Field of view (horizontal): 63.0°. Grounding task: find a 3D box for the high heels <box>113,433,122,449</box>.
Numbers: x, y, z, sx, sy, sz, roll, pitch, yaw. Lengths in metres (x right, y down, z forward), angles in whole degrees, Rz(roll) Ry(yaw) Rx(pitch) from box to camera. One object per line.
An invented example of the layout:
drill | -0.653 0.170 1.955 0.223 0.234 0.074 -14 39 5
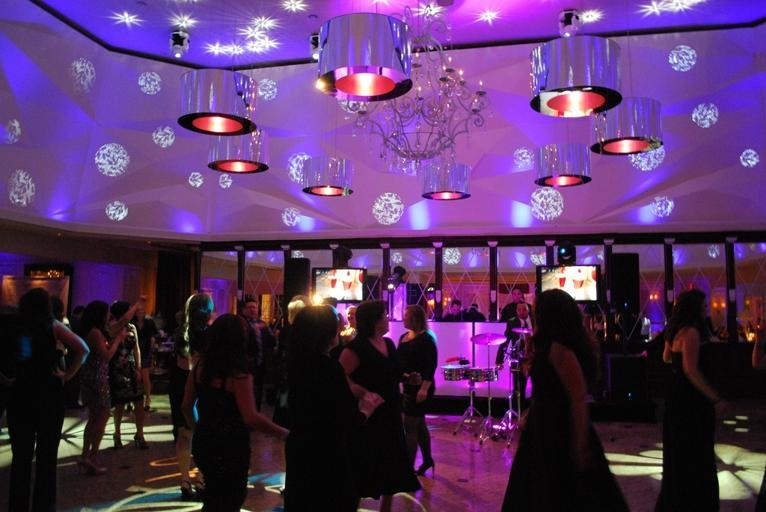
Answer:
high heels | -3.634 2.540 8.534 0.087 0.239 0.081 -35 -48 9

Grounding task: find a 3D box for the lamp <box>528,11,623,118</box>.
lamp | 2.152 -2.173 7.355 0.965 1.098 0.995 1 -14 6

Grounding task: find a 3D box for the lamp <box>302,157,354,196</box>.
lamp | -0.849 -1.216 9.841 0.636 0.429 0.650 0 -4 2

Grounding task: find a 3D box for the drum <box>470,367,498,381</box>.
drum | 1.422 1.694 8.932 0.250 0.093 0.238 0 -4 0

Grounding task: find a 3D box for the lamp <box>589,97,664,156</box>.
lamp | 3.294 -1.651 8.404 0.773 0.520 0.796 -4 -4 21

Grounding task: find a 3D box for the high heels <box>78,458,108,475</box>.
high heels | -3.582 2.600 7.723 0.303 0.134 0.167 9 -6 -9

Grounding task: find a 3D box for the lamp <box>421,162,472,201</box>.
lamp | 1.006 -1.151 9.726 0.737 0.478 0.762 -1 -5 27

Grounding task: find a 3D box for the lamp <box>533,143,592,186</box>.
lamp | 2.858 -1.425 9.807 0.839 0.563 0.847 3 -6 -11

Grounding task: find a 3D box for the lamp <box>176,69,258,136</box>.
lamp | -2.097 -1.849 7.914 0.872 0.600 0.909 4 -14 21

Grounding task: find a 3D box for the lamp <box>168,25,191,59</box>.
lamp | -4.063 -4.231 12.494 0.433 0.653 0.449 1 -8 3

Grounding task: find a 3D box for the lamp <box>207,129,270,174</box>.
lamp | -2.094 -1.571 9.091 0.842 0.558 0.839 -1 4 -26

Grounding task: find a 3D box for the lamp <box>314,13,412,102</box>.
lamp | -0.199 -2.205 6.880 0.994 0.641 1.024 0 1 13

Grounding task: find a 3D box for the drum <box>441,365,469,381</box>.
drum | 1.040 1.690 9.016 0.277 0.140 0.260 1 -7 0
